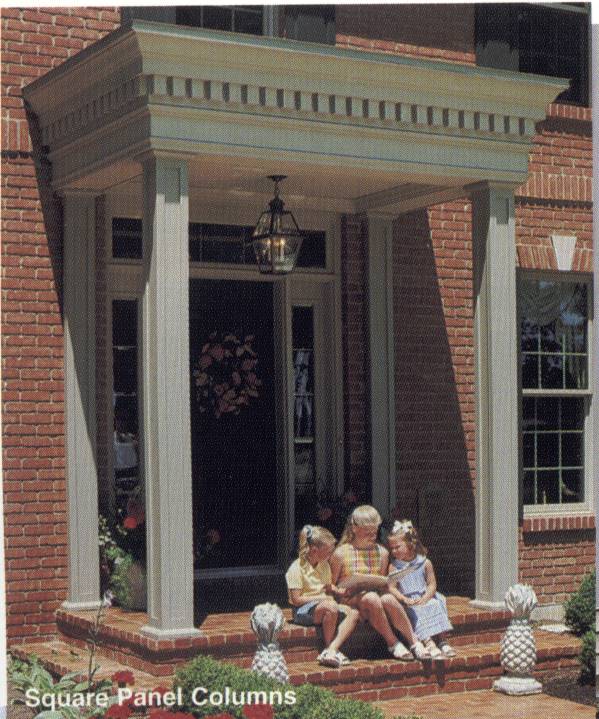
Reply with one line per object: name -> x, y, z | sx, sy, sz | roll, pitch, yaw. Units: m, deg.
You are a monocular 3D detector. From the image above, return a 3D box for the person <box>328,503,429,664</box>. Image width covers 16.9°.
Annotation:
person -> 0.535, 1.522, 13.976 | 0.360, 1.008, 0.741 | -7, 10, -35

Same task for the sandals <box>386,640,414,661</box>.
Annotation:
sandals -> 0.694, 2.005, 13.877 | 0.084, 0.085, 0.171 | -5, -3, -19

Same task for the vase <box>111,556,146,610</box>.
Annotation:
vase -> -1.244, 1.634, 14.673 | 0.257, 0.613, 0.276 | 2, -3, -8

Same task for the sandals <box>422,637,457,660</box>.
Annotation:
sandals -> 0.966, 1.997, 14.025 | 0.282, 0.150, 0.114 | 11, 27, -5

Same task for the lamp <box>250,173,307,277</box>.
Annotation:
lamp -> -0.161, -1.078, 14.958 | 0.241, 0.778, 0.267 | -2, 29, 4

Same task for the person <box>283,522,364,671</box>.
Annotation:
person -> 0.144, 1.620, 13.853 | 0.358, 0.974, 0.427 | 2, -8, -29
